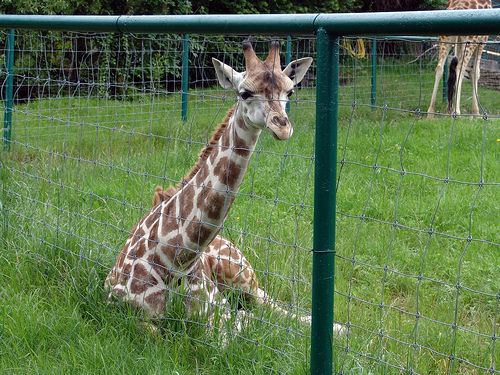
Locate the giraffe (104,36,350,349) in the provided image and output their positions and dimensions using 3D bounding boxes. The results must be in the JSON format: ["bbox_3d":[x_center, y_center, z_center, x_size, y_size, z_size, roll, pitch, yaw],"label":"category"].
[{"bbox_3d":[-0.310,0.020,6.021,1.480,2.644,1.194,13,13,38],"label":"giraffe"}]
